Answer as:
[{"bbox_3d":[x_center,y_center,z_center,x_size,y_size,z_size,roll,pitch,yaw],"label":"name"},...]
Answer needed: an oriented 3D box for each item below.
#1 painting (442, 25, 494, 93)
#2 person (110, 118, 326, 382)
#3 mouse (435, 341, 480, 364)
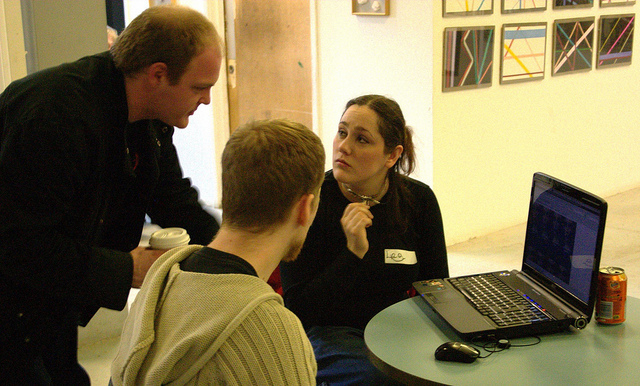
[{"bbox_3d":[1.394,-1.266,4.512,0.736,0.580,0.037,-15,22,-32],"label":"painting"},{"bbox_3d":[-0.332,0.180,1.514,0.709,0.770,0.484,-3,15,1],"label":"person"},{"bbox_3d":[0.494,0.576,1.742,0.142,0.044,0.067,1,20,16],"label":"mouse"}]
